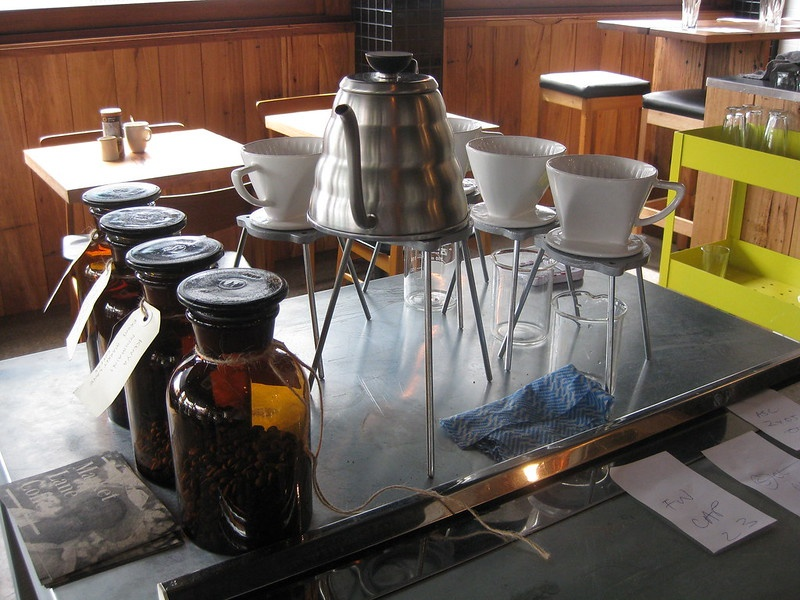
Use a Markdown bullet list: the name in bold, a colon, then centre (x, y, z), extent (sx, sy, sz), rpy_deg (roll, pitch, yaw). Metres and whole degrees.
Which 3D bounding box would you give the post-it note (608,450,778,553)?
- **post-it note**: centre (0.358, 0.247, 0.796), extent (0.105, 0.009, 0.166), rpy_deg (-19, 32, -30)

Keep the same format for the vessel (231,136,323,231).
- **vessel**: centre (-0.173, -0.194, 1.020), extent (0.126, 0.112, 0.174), rpy_deg (16, 29, 29)

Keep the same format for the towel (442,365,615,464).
- **towel**: centre (0.185, 0.164, 0.882), extent (0.198, 0.026, 0.110), rpy_deg (-17, 32, -21)

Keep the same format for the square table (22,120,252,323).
- **square table**: centre (-1.011, -0.296, 2.634), extent (0.757, 0.664, 0.738), rpy_deg (-20, 37, -34)

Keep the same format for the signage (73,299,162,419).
- **signage**: centre (-0.319, 0.063, 0.706), extent (0.115, 0.119, 0.067), rpy_deg (-12, 31, -17)

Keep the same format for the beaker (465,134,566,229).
- **beaker**: centre (0.193, -0.187, 1.031), extent (0.178, 0.113, 0.146), rpy_deg (-5, 22, -6)

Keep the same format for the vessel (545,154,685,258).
- **vessel**: centre (0.317, -0.138, 0.938), extent (0.206, 0.119, 0.161), rpy_deg (4, 23, 15)

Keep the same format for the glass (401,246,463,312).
- **glass**: centre (0.053, -0.046, 1.237), extent (0.122, 0.123, 0.124), rpy_deg (-4, 16, -11)

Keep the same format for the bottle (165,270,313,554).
- **bottle**: centre (-0.171, 0.127, 0.658), extent (0.154, 0.286, 0.111), rpy_deg (-8, 30, -9)

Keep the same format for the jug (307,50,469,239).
- **jug**: centre (-0.018, -0.211, 0.830), extent (0.225, 0.210, 0.276), rpy_deg (9, 32, 13)
